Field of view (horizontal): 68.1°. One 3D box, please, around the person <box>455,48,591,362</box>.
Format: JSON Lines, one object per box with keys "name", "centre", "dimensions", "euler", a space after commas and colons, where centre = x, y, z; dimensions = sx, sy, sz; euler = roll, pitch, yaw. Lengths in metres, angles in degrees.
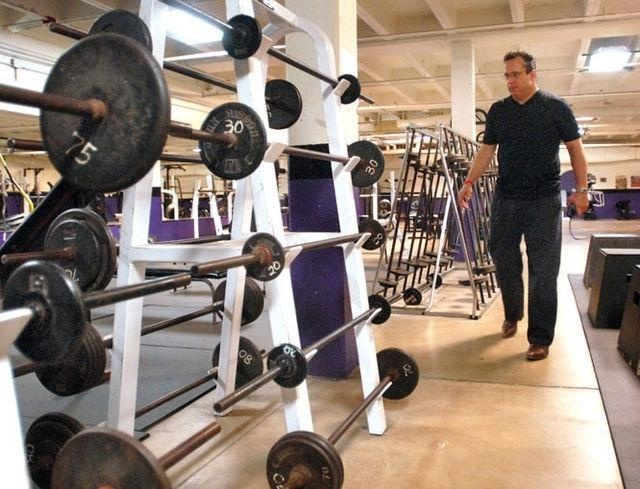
{"name": "person", "centre": [1.408, -0.257, 3.239], "dimensions": [0.412, 2.008, 0.715], "euler": [-5, 7, -27]}
